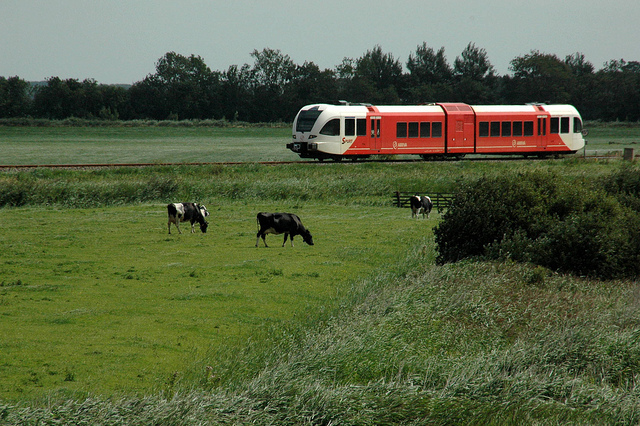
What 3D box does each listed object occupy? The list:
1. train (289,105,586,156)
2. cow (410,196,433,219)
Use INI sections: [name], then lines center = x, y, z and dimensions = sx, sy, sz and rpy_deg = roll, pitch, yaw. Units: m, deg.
[train]
center = 10.971, -6.893, 84.075
dimensions = 23.764, 4.687, 4.212
rpy_deg = -2, 15, -20
[cow]
center = 6.227, -0.423, 64.323
dimensions = 1.306, 1.431, 0.970
rpy_deg = -9, 16, -40
